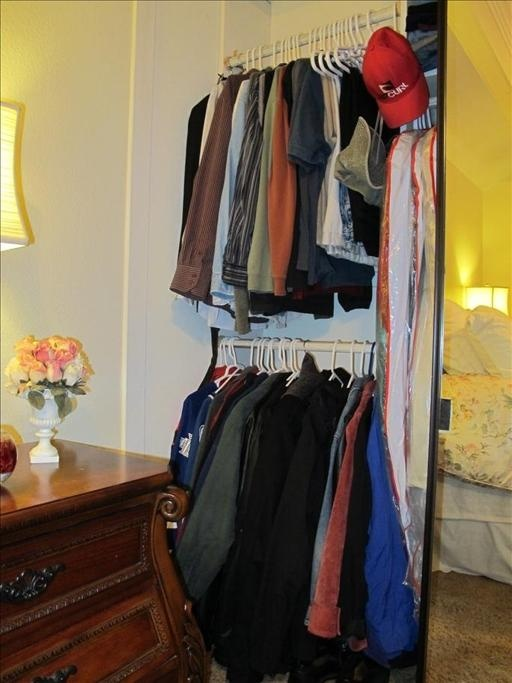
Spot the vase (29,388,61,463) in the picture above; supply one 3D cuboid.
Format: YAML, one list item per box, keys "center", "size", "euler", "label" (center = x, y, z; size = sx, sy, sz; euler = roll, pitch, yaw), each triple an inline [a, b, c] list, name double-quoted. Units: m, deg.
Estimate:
- center: [-0.386, 0.147, 1.034]
  size: [0.061, 0.142, 0.053]
  euler: [2, 5, -24]
  label: "vase"

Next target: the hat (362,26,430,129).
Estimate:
- center: [0.312, -0.630, 1.309]
  size: [0.127, 0.251, 0.115]
  euler: [-18, -15, 32]
  label: "hat"

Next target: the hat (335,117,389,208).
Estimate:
- center: [0.259, -0.426, 1.325]
  size: [0.141, 0.199, 0.099]
  euler: [3, 5, -14]
  label: "hat"
